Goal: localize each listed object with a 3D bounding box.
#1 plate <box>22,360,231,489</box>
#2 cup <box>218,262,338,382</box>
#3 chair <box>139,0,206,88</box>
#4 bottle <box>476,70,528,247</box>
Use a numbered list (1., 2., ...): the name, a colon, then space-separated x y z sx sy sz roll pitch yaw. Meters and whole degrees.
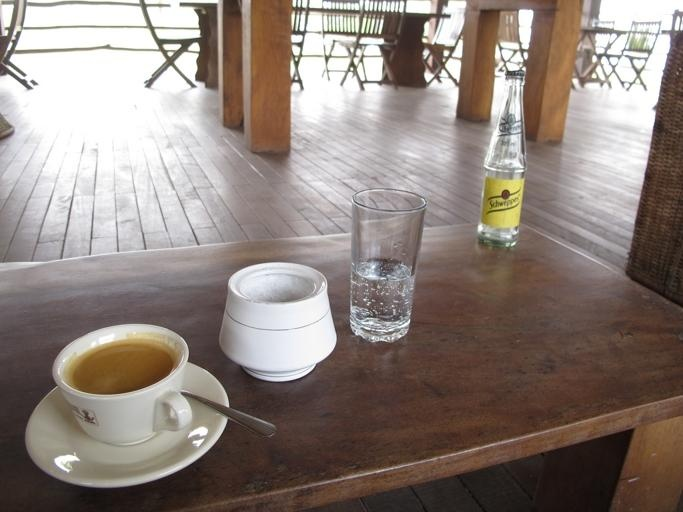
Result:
1. plate: -0.215 0.174 0.491 0.198 0.021 0.117 0 25 -4
2. cup: -0.089 0.103 0.649 0.145 0.106 0.148 2 27 -1
3. chair: -1.892 -2.333 5.507 0.673 0.870 0.580 -16 31 -31
4. bottle: 0.337 -0.197 0.984 0.092 0.324 0.177 9 27 15
